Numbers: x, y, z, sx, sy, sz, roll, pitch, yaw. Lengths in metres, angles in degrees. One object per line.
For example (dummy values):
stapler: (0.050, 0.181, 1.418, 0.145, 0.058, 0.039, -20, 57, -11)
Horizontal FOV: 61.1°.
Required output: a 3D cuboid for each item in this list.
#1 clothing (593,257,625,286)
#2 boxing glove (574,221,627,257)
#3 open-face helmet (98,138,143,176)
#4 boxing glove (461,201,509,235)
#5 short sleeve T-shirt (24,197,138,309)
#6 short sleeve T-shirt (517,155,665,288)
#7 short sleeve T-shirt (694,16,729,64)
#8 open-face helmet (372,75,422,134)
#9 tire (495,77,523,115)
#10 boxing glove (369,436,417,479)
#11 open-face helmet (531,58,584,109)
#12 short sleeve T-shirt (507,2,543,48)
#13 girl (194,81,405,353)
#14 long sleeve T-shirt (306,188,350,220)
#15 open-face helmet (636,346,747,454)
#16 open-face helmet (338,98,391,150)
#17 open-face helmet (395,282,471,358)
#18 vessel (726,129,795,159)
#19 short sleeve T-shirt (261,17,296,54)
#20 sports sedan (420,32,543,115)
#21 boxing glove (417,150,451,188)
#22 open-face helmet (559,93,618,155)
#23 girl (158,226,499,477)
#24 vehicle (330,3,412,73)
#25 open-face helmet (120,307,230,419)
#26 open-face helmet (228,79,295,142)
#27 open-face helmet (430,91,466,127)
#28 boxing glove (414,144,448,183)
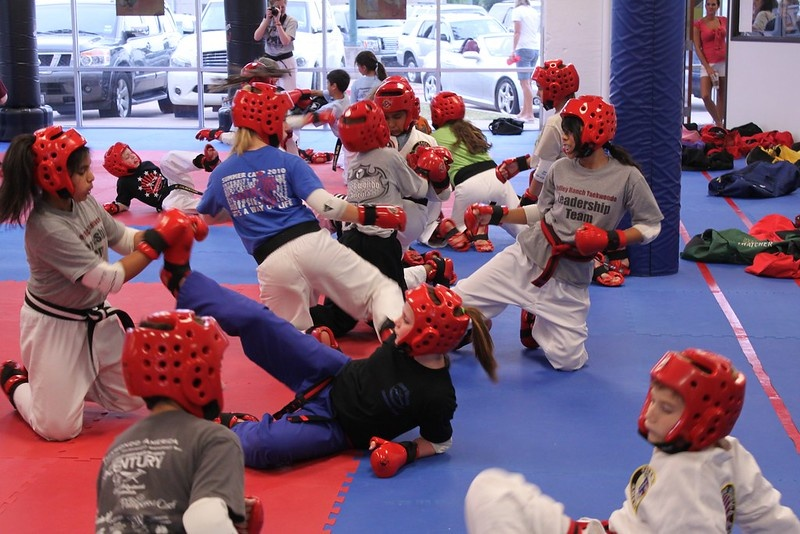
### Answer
clothing: (2.166, 0.063, 7.119, 0.282, 0.161, 0.366, 3, 37, -17)
boxing glove: (1.504, -0.199, 5.121, 0.299, 0.154, 0.225, -5, 40, 4)
open-face helmet: (-3.586, -1.390, 8.656, 0.428, 0.455, 0.361, 29, 37, -44)
boxing glove: (0.681, -0.389, 5.450, 0.294, 0.146, 0.240, -21, 12, 17)
short sleeve T-shirt: (-2.102, -0.117, 4.456, 0.711, 0.708, 0.795, 1, 18, -3)
short sleeve T-shirt: (1.589, -0.406, 5.648, 1.028, 1.059, 0.605, 27, 15, 35)
short sleeve T-shirt: (6.625, -4.822, 14.337, 0.774, 0.942, 0.284, -1, 11, -16)
open-face helmet: (-0.002, -1.496, 6.169, 0.415, 0.557, 0.518, 4, 13, 8)
tire: (2.812, -4.451, 17.386, 0.227, 0.710, 0.694, -23, 53, -36)
boxing glove: (-0.032, 1.145, 4.170, 0.239, 0.142, 0.376, 17, 12, 38)
open-face helmet: (1.579, -1.838, 6.809, 0.487, 0.477, 0.428, 3, 9, 12)
short sleeve T-shirt: (3.065, -5.869, 16.501, 0.676, 1.103, 0.384, 2, 10, -5)
girl: (-0.813, -0.299, 5.485, 1.709, 2.418, 1.009, -1, 21, 22)
long sleeve T-shirt: (-0.535, -0.491, 4.988, 0.264, 0.207, 0.121, 27, 40, -4)
open-face helmet: (1.231, 0.542, 2.811, 0.408, 0.365, 0.348, -7, 10, -35)
open-face helmet: (-0.320, -1.149, 5.533, 0.377, 0.411, 0.506, 9, 35, 19)
open-face helmet: (0.155, 0.292, 4.006, 0.429, 0.424, 0.369, 22, 17, 16)
vessel: (6.717, -2.358, 12.671, 0.697, 0.254, 0.691, -10, 11, -28)
short sleeve T-shirt: (-2.349, -4.482, 13.034, 0.724, 0.725, 0.433, 5, 9, 20)
sports sedan: (2.436, -5.352, 17.963, 3.812, 1.712, 2.278, 19, 37, 39)
boxing glove: (0.365, -0.855, 5.898, 0.358, 0.372, 0.291, -6, 11, -12)
open-face helmet: (1.414, -1.086, 5.169, 0.437, 0.459, 0.414, 8, 10, 11)
girl: (-0.501, 0.555, 4.157, 2.144, 1.478, 1.034, 5, 16, 5)
vehicle: (-0.920, -5.904, 17.560, 1.360, 1.365, 2.313, -9, 10, -32)
open-face helmet: (-0.890, 0.392, 2.780, 0.446, 0.456, 0.352, -6, 11, -21)
open-face helmet: (-1.080, -1.171, 5.139, 0.486, 0.477, 0.401, -14, 26, -42)
open-face helmet: (0.507, -1.829, 7.721, 0.312, 0.392, 0.407, -21, 34, -37)
boxing glove: (0.231, -0.930, 5.881, 0.356, 0.342, 0.277, 6, 43, 13)
